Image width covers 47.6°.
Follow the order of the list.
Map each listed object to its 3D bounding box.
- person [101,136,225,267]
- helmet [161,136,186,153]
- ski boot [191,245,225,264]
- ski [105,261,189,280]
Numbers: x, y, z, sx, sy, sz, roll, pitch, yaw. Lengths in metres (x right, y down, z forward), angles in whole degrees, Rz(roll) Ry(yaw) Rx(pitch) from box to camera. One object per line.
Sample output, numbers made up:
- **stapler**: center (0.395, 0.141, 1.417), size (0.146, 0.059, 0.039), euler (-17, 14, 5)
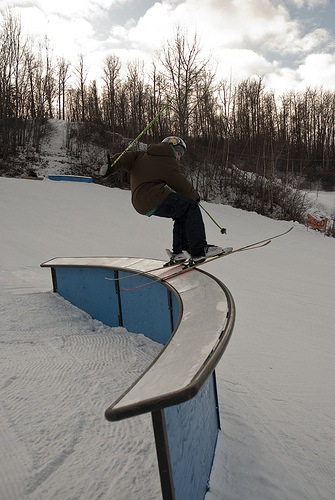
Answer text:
- **person**: center (-0.012, -0.538, 3.961), size (1.217, 1.058, 0.420), euler (8, 3, -13)
- **helmet**: center (0.074, -1.142, 4.070), size (0.195, 0.172, 0.155), euler (-14, 30, -18)
- **ski boot**: center (0.421, 0.057, 3.999), size (0.368, 0.172, 0.151), euler (7, 4, -39)
- **ski**: center (-0.218, 0.223, 4.010), size (0.521, 0.044, 0.084), euler (-16, 40, -15)
